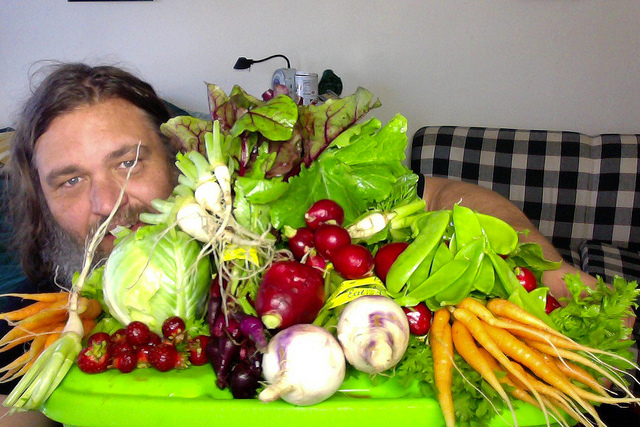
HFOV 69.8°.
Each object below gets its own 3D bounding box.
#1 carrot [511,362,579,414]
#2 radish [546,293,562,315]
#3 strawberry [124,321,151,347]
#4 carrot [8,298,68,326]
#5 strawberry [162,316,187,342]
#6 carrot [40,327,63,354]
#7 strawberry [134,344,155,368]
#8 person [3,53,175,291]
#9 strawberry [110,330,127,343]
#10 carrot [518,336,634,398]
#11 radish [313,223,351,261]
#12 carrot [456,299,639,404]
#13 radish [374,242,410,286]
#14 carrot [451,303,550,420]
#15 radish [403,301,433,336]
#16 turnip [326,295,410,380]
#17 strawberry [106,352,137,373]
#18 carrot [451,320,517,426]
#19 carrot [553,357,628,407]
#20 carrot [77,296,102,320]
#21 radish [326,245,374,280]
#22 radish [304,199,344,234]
[{"bbox_3d":[0.498,0.394,1.028,0.185,0.027,0.024,34,37,21],"label":"carrot"},{"bbox_3d":[0.567,0.222,1.131,0.035,0.026,0.044,-6,40,-4],"label":"radish"},{"bbox_3d":[-0.426,0.284,1.090,0.053,0.067,0.054,2,-4,-15],"label":"strawberry"},{"bbox_3d":[-0.696,0.246,1.156,0.190,0.041,0.035,-22,27,10],"label":"carrot"},{"bbox_3d":[-0.350,0.276,1.104,0.051,0.062,0.053,-12,-28,8],"label":"strawberry"},{"bbox_3d":[-0.643,0.308,1.106,0.014,0.067,0.017,33,-4,13],"label":"carrot"},{"bbox_3d":[-0.405,0.329,1.061,0.043,0.054,0.046,2,-4,-36],"label":"strawberry"},{"bbox_3d":[-0.908,-0.131,1.710,0.697,0.857,0.354,0,-8,23],"label":"person"},{"bbox_3d":[-0.473,0.290,1.094,0.027,0.027,0.027,-2,36,-31],"label":"strawberry"},{"bbox_3d":[0.566,0.347,1.043,0.254,0.025,0.029,32,32,18],"label":"carrot"},{"bbox_3d":[0.025,0.062,1.173,0.078,0.088,0.096,10,8,-8],"label":"radish"},{"bbox_3d":[0.506,0.317,1.053,0.332,0.083,0.075,30,48,14],"label":"carrot"},{"bbox_3d":[0.173,0.121,1.131,0.081,0.107,0.034,2,-7,8],"label":"radish"},{"bbox_3d":[0.410,0.346,1.044,0.041,0.281,0.042,-10,-29,-51],"label":"carrot"},{"bbox_3d":[0.231,0.248,1.129,0.058,0.081,0.060,-19,-4,-40],"label":"radish"},{"bbox_3d":[0.113,0.265,1.084,0.175,0.158,0.133,9,21,14],"label":"turnip"},{"bbox_3d":[-0.447,0.339,1.055,0.055,0.043,0.042,-15,20,-7],"label":"strawberry"},{"bbox_3d":[0.347,0.324,1.057,0.059,0.062,0.298,-19,49,-19],"label":"carrot"},{"bbox_3d":[0.600,0.378,1.038,0.219,0.037,0.046,37,-6,7],"label":"carrot"},{"bbox_3d":[-0.569,0.235,1.135,0.031,0.038,0.080,-23,39,-32],"label":"carrot"},{"bbox_3d":[0.076,0.112,1.135,0.126,0.081,0.089,6,31,32],"label":"radish"},{"bbox_3d":[0.009,-0.001,1.216,0.105,0.075,0.089,16,21,38],"label":"radish"}]
